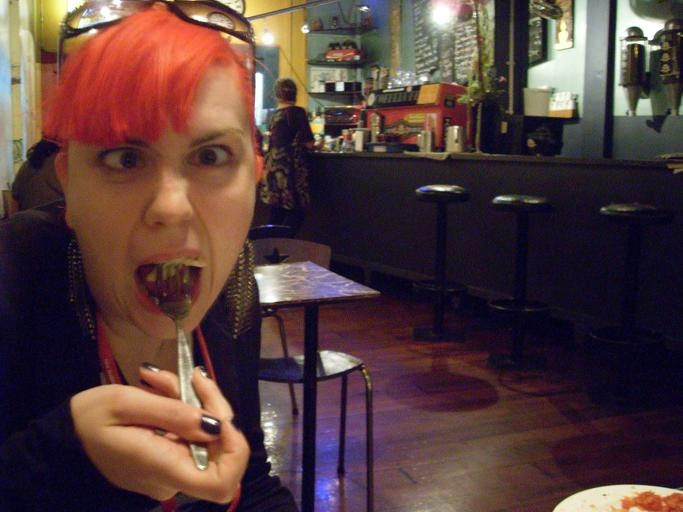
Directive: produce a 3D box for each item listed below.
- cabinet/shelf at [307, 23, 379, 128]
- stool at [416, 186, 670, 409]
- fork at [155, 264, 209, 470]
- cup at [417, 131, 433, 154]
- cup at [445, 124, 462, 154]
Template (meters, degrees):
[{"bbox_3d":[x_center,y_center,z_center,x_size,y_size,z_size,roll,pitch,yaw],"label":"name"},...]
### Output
[{"bbox_3d":[0.002,-2.600,8.383,1.082,1.101,0.542,3,14,14],"label":"cabinet/shelf"},{"bbox_3d":[1.201,0.247,3.452,0.326,0.741,1.243,-6,9,-42],"label":"stool"},{"bbox_3d":[-0.190,0.103,0.656,0.050,0.253,0.022,-8,-22,-27],"label":"fork"},{"bbox_3d":[0.669,-0.918,4.750,0.099,0.169,0.179,0,13,1],"label":"cup"},{"bbox_3d":[0.861,-0.888,4.539,0.131,0.179,0.159,3,13,11],"label":"cup"}]
